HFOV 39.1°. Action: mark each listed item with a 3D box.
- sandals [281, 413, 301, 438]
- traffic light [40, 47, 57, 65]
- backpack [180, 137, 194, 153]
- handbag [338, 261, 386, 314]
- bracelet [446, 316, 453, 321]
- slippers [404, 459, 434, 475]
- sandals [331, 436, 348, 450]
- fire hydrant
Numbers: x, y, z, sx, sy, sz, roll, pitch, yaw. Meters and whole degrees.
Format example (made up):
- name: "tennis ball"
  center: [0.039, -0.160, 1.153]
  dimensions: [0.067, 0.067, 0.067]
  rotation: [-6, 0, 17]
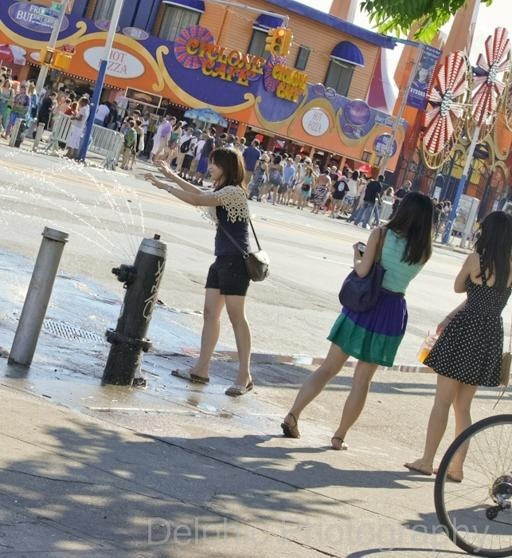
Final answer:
- name: "sandals"
  center: [0.218, 0.951, 4.638]
  dimensions: [0.073, 0.086, 0.207]
  rotation: [2, -2, 10]
- name: "traffic light"
  center: [-6.866, -7.307, 23.607]
  dimensions: [0.470, 0.560, 0.509]
  rotation: [15, 8, 32]
- name: "backpack"
  center: [-2.717, -5.088, 27.511]
  dimensions: [0.602, 0.555, 0.420]
  rotation: [-9, 10, -42]
- name: "handbag"
  center: [0.682, 0.052, 4.656]
  dimensions: [0.249, 0.316, 0.199]
  rotation: [17, 5, 18]
- name: "bracelet"
  center: [1.263, 0.254, 4.706]
  dimensions: [0.029, 0.008, 0.031]
  rotation: [-42, 22, -32]
- name: "slippers"
  center: [1.020, 1.190, 4.516]
  dimensions: [0.190, 0.080, 0.070]
  rotation: [15, 1, 20]
- name: "sandals"
  center: [0.544, 1.059, 4.647]
  dimensions: [0.115, 0.083, 0.118]
  rotation: [15, 5, 2]
- name: "fire hydrant"
  center: [-0.839, 0.220, 4.958]
  dimensions: [0.253, 0.861, 0.374]
  rotation: [19, 6, 37]
